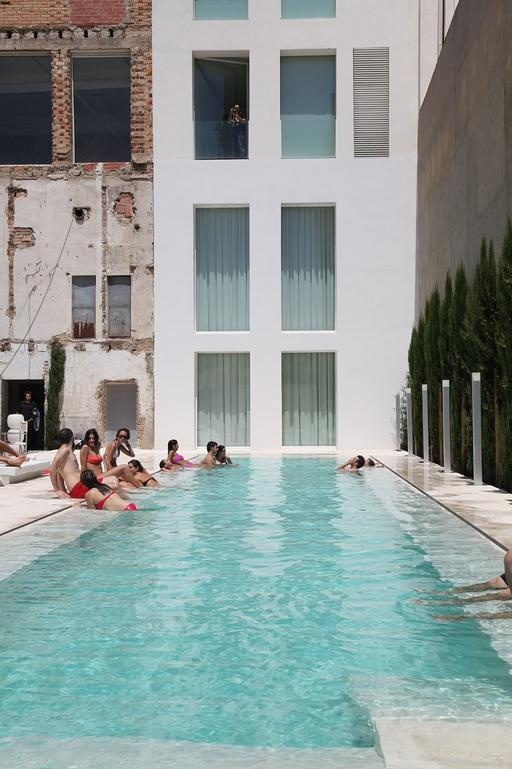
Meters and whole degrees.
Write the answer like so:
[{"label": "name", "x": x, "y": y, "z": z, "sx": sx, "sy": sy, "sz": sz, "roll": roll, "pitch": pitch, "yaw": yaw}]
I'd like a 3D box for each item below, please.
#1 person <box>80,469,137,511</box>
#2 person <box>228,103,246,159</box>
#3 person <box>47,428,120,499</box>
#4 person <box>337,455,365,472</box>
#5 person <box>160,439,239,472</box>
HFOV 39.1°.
[{"label": "person", "x": -1.813, "y": 1.319, "z": 9.066, "sx": 0.667, "sy": 0.502, "sz": 0.366, "roll": -1, "pitch": -2, "yaw": 10}, {"label": "person", "x": -0.467, "y": -6.939, "z": 19.671, "sx": 0.481, "sy": 1.695, "sz": 0.663, "roll": 0, "pitch": -2, "yaw": -3}, {"label": "person", "x": -2.498, "y": 1.083, "z": 10.254, "sx": 0.663, "sy": 1.040, "sz": 0.442, "roll": -9, "pitch": -3, "yaw": -11}, {"label": "person", "x": 1.866, "y": 1.519, "z": 14.107, "sx": 0.496, "sy": 0.257, "sz": 0.985, "roll": -1, "pitch": -1, "yaw": 8}, {"label": "person", "x": -1.163, "y": 1.510, "z": 14.529, "sx": 1.200, "sy": 0.736, "sz": 0.643, "roll": -2, "pitch": -1, "yaw": -4}]
